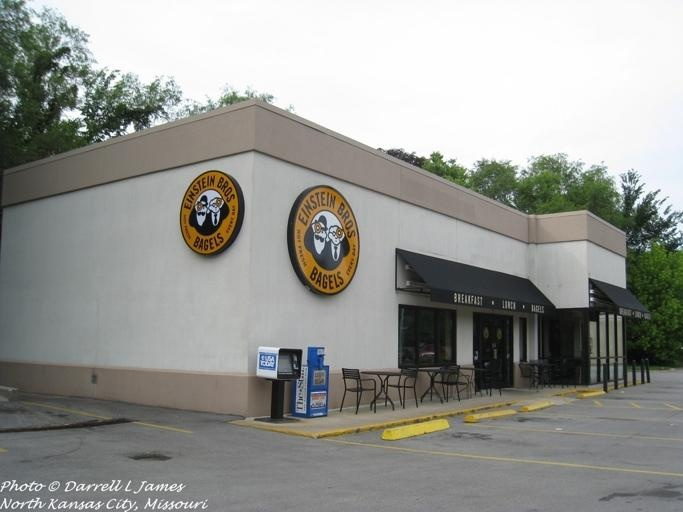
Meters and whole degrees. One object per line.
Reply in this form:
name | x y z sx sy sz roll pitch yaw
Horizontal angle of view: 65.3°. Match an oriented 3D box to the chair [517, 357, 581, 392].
chair | 9.688 5.424 24.701 2.785 1.305 1.131 3 -6 -16
